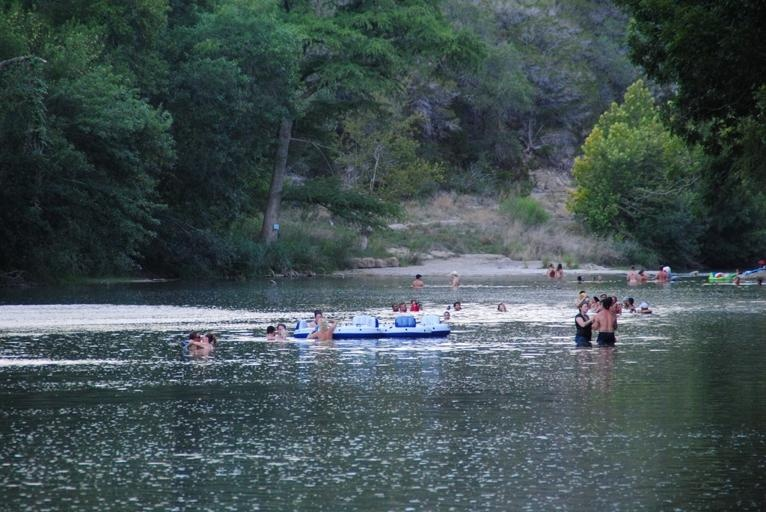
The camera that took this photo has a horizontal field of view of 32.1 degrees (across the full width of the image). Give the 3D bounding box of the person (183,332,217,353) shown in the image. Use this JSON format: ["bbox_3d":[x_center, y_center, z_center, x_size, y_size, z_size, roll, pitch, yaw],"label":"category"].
[{"bbox_3d":[-7.072,3.415,51.984,0.930,0.423,0.793,-2,3,-34],"label":"person"}]
